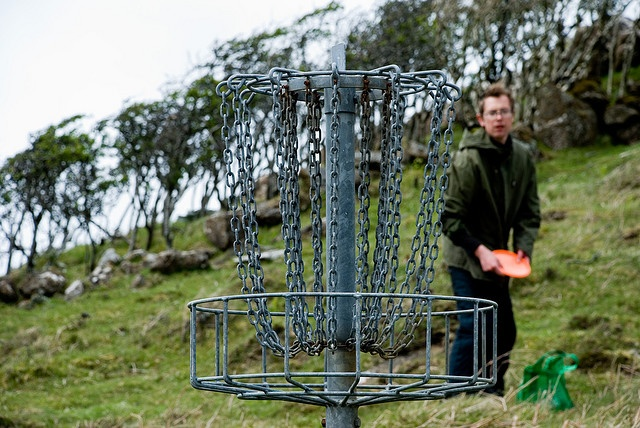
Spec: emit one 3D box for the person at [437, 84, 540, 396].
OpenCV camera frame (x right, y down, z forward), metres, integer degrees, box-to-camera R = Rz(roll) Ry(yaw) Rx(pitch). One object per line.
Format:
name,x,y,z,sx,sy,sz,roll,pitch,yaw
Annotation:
person,1.707,0.267,15.392,1.207,3.049,0.760,-11,14,-31

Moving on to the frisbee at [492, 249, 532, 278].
frisbee,1.909,0.524,15.154,0.357,0.294,0.421,-1,14,8

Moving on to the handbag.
handbag,2.319,1.719,15.320,0.531,0.678,0.566,10,-14,5
